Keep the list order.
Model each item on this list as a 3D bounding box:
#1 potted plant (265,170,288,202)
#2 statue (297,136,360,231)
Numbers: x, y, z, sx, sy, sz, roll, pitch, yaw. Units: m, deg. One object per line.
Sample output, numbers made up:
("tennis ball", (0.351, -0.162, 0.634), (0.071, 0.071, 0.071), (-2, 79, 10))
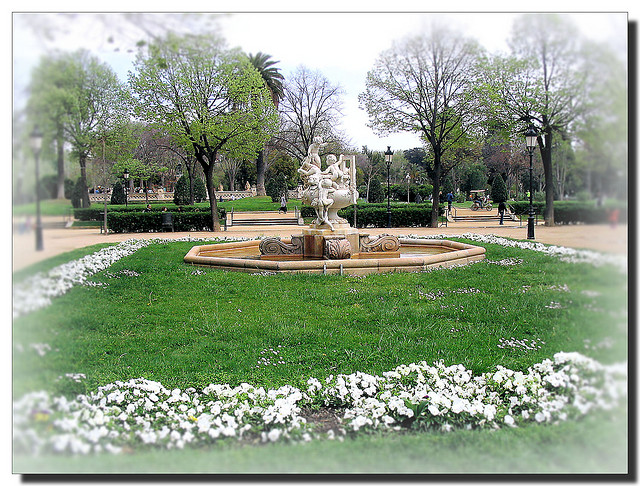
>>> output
("potted plant", (-3.466, -4.532, 46.662), (1.401, 2.230, 2.682), (-3, 12, -8))
("statue", (0.186, -1.498, 14.828), (1.399, 2.237, 1.574), (-1, 4, 43))
